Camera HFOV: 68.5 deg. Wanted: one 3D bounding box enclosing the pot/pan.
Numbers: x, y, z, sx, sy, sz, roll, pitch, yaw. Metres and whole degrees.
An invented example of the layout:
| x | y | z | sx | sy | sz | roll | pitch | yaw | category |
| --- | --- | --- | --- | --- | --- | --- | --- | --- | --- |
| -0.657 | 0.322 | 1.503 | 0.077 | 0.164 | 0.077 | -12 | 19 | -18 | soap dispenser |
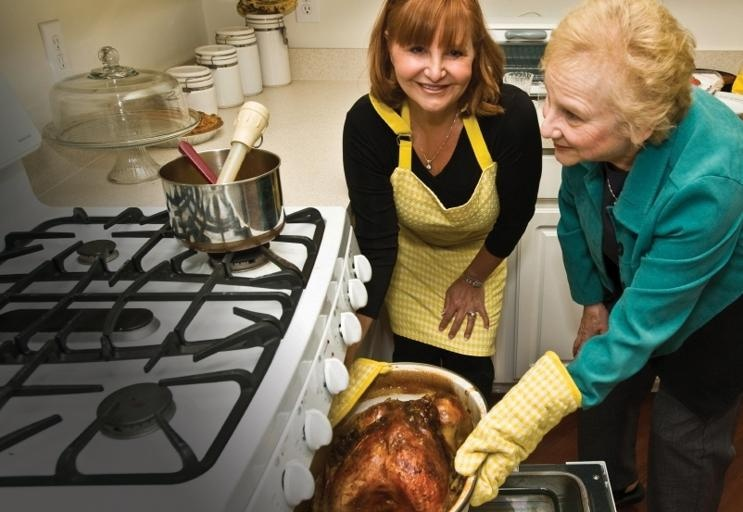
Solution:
| x | y | z | sx | sy | sz | roll | pitch | yaw | category |
| --- | --- | --- | --- | --- | --- | --- | --- | --- | --- |
| -0.309 | -0.122 | 1.141 | 0.235 | 0.152 | 0.240 | -7 | 36 | -7 | pot/pan |

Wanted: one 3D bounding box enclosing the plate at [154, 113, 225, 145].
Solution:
| x | y | z | sx | sy | sz | roll | pitch | yaw | category |
| --- | --- | --- | --- | --- | --- | --- | --- | --- | --- |
| -0.563 | -0.386 | 1.664 | 0.181 | 0.040 | 0.191 | -2 | 39 | 0 | plate |

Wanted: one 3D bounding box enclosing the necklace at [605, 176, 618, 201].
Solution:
| x | y | z | sx | sy | sz | roll | pitch | yaw | category |
| --- | --- | --- | --- | --- | --- | --- | --- | --- | --- |
| 0.589 | -0.165 | 1.340 | 0.010 | 0.043 | 0.043 | -23 | 4 | 21 | necklace |
